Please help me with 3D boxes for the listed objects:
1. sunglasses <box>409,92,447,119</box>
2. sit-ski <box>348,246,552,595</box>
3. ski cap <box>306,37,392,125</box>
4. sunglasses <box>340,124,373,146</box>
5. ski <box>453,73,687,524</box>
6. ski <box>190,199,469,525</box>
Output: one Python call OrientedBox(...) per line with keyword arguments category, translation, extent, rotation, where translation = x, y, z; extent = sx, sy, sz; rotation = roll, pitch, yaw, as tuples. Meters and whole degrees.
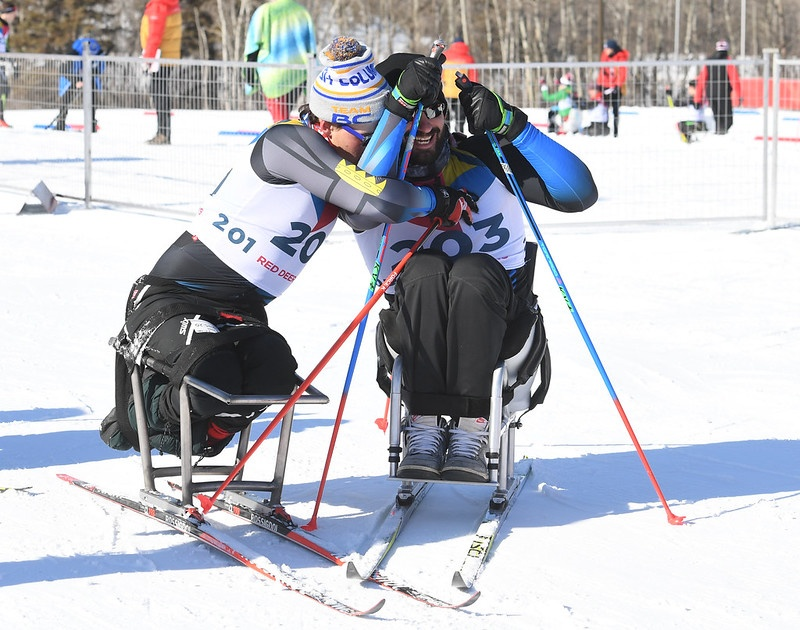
OrientedBox(category="sunglasses", translation=(0.132, -0.892, 4.574), extent=(0.039, 0.120, 0.098), rotation=(26, 33, 11))
OrientedBox(category="sit-ski", translation=(0.153, 0.517, 4.581), extent=(0.779, 1.428, 0.926), rotation=(4, 18, 10))
OrientedBox(category="ski cap", translation=(-0.224, -1.054, 4.613), extent=(0.370, 0.318, 0.385), rotation=(16, 37, 22))
OrientedBox(category="sunglasses", translation=(-0.191, -0.794, 4.590), extent=(0.092, 0.026, 0.090), rotation=(35, 13, 1))
OrientedBox(category="ski", translation=(0.781, 0.008, 4.870), extent=(0.848, 2.176, 1.140), rotation=(8, 27, 20))
OrientedBox(category="ski", translation=(-0.319, 0.251, 4.776), extent=(0.229, 1.804, 0.255), rotation=(28, -16, 31))
